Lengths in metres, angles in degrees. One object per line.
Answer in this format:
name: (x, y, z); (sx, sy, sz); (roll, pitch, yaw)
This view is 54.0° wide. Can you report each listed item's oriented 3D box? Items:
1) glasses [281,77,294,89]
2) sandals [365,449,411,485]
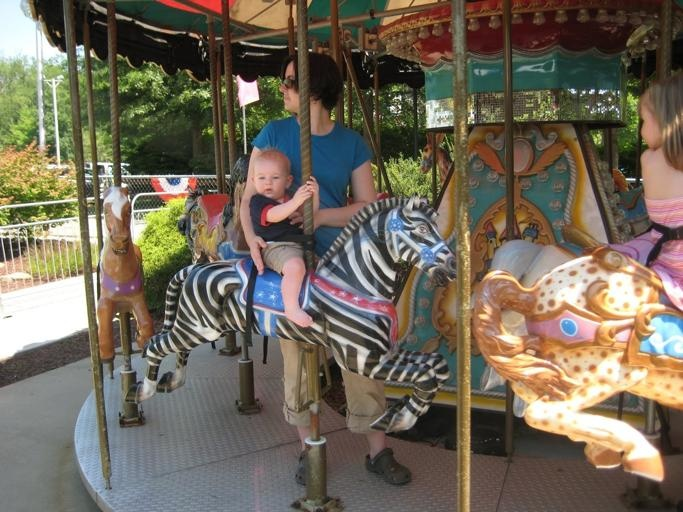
glasses: (-0.285, -0.936, 3.645); (0.057, 0.029, 0.049); (-4, 13, -44)
sandals: (0.270, 1.168, 3.851); (0.118, 0.148, 0.268); (-10, 12, -35)
